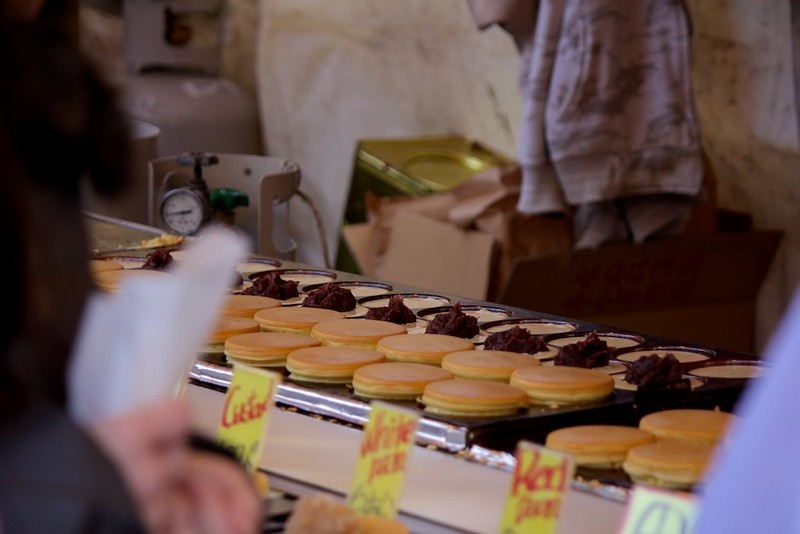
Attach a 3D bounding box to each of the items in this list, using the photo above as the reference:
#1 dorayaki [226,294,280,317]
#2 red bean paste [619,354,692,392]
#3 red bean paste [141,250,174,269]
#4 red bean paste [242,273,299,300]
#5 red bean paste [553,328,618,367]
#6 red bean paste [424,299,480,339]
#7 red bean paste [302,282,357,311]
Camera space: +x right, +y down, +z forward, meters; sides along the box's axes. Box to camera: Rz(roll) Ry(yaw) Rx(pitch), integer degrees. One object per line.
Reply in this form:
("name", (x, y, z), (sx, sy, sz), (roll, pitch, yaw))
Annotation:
("dorayaki", (-0.548, 0.143, 2.594), (0.134, 0.026, 0.136), (9, 11, 38))
("red bean paste", (0.741, 0.287, 2.015), (0.169, 0.065, 0.188), (-3, 7, 38))
("red bean paste", (-1.048, -0.032, 3.029), (0.115, 0.037, 0.086), (-18, 50, -13))
("red bean paste", (-0.521, 0.063, 2.818), (0.120, 0.054, 0.164), (-5, 8, -33))
("red bean paste", (0.574, 0.252, 2.166), (0.141, 0.092, 0.148), (-10, 12, -29))
("red bean paste", (0.176, 0.179, 2.447), (0.196, 0.112, 0.170), (-6, 14, -5))
("red bean paste", (-0.251, 0.096, 2.669), (0.132, 0.057, 0.129), (-2, 13, -45))
